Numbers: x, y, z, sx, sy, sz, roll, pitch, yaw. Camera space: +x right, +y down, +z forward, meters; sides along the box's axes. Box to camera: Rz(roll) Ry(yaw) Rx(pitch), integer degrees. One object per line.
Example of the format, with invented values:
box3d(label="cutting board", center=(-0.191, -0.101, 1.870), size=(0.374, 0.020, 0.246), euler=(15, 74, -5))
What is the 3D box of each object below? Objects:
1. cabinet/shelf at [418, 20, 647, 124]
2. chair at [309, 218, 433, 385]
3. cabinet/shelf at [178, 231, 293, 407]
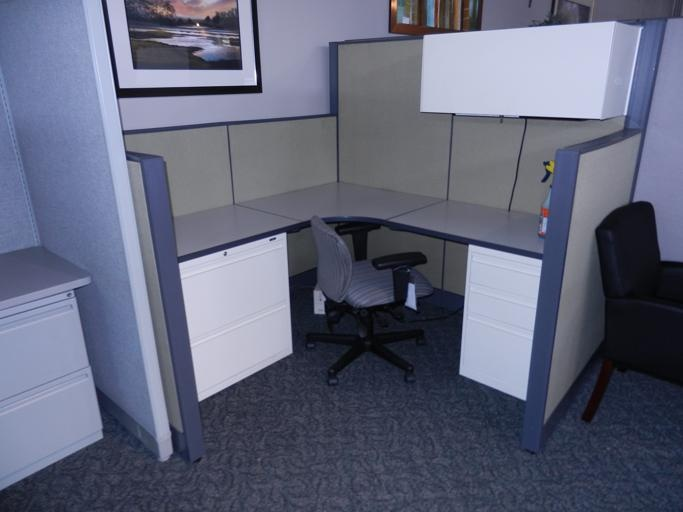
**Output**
box3d(label="cabinet/shelf", center=(0.866, -0.942, 2.582), size=(0.938, 0.431, 0.191), euler=(16, 29, 34))
box3d(label="chair", center=(0.139, 0.183, 2.990), size=(0.752, 0.926, 0.615), euler=(-2, 23, -1))
box3d(label="cabinet/shelf", center=(-0.583, 0.326, 2.692), size=(0.400, 0.787, 0.656), euler=(17, 30, 41))
